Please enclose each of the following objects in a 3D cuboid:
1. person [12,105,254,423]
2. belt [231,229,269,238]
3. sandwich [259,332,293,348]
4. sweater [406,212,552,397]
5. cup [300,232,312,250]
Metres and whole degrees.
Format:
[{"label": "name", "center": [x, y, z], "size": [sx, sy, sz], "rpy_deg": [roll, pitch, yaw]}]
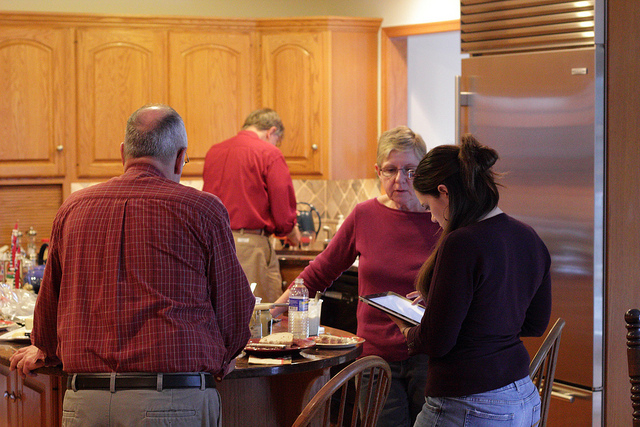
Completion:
[{"label": "person", "center": [-0.736, 0.211, 2.534], "size": [0.863, 0.898, 0.280], "rpy_deg": [-3, 2, 8]}, {"label": "belt", "center": [-0.491, 0.139, 4.553], "size": [0.250, 0.064, 0.061], "rpy_deg": [-3, 1, -5]}, {"label": "sandwich", "center": [-0.203, 0.574, 2.936], "size": [0.150, 0.037, 0.105], "rpy_deg": [-3, 1, 8]}, {"label": "sweater", "center": [0.579, 0.334, 2.361], "size": [0.522, 0.656, 0.227], "rpy_deg": [-3, 2, 13]}, {"label": "cup", "center": [-0.118, 0.217, 5.268], "size": [0.130, 0.190, 0.121], "rpy_deg": [1, 0, 0]}]
